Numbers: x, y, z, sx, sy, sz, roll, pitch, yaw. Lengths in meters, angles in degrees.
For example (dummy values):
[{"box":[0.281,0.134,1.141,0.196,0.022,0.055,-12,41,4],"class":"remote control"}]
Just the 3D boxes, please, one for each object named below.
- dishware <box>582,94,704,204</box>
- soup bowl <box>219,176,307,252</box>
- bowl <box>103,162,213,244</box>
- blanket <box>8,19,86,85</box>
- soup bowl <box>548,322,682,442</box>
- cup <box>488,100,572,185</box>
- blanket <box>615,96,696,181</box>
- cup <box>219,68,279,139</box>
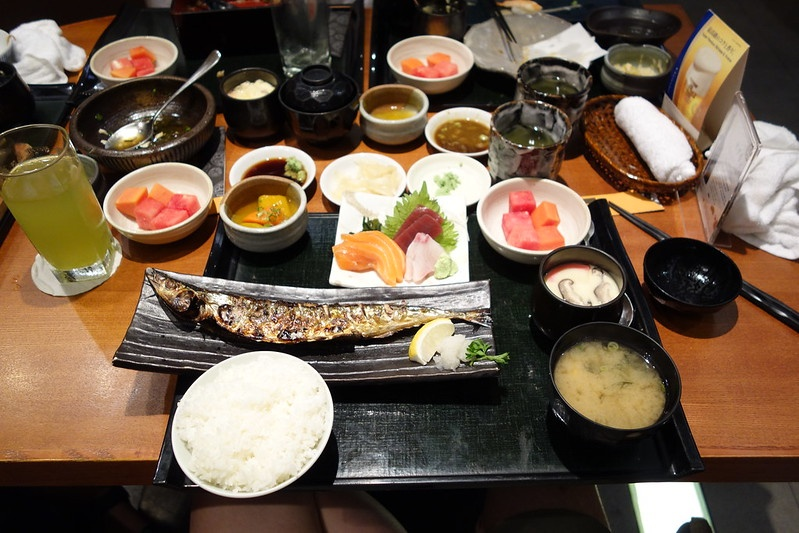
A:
[{"box":[1.376,-0.716,3.496,0.554,0.165,0.786,-25,59,-8],"class":"dishware"},{"box":[-0.772,-0.289,3.302,0.472,0.208,0.479,2,45,-2],"class":"soup bowl"},{"box":[-1.432,-0.297,3.471,0.519,0.203,0.527,5,56,-7],"class":"bowl"},{"box":[-2.491,-1.465,4.163,0.519,0.159,0.528,2,59,-27],"class":"blanket"},{"box":[0.992,0.556,2.733,0.560,0.273,0.566,1,61,-2],"class":"soup bowl"},{"box":[0.753,-0.755,3.442,0.471,0.373,0.501,-2,51,2],"class":"cup"},{"box":[1.558,-0.748,3.515,0.304,0.171,0.583,-23,60,-9],"class":"blanket"},{"box":[-0.927,-1.069,3.680,0.430,0.321,0.441,2,53,-3],"class":"cup"}]
